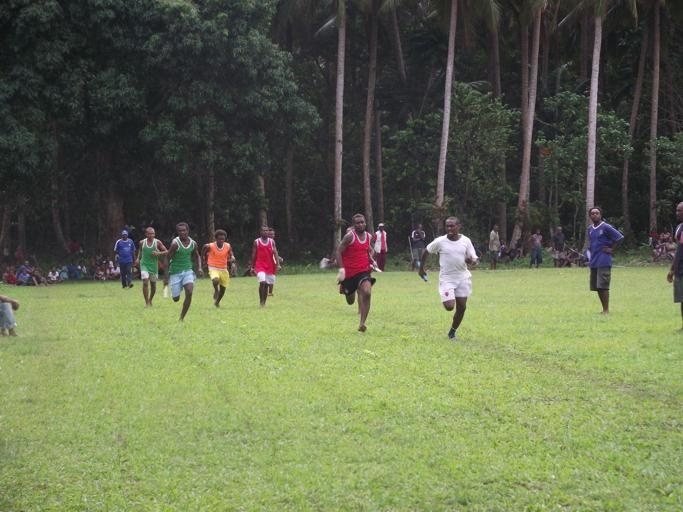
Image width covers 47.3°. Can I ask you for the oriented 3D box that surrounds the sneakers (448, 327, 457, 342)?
[{"bbox_3d":[2.396,1.702,17.013,0.118,0.263,0.253,2,8,-23],"label":"sneakers"}]

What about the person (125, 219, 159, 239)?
[{"bbox_3d":[-10.228,-1.403,39.783,1.308,0.759,1.788,-6,-17,-7],"label":"person"}]

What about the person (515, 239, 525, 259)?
[{"bbox_3d":[9.506,-0.380,41.844,0.411,0.991,1.712,-2,-1,14],"label":"person"}]

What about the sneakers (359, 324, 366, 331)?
[{"bbox_3d":[0.470,1.627,17.645,0.108,0.156,0.059,-9,37,7],"label":"sneakers"}]

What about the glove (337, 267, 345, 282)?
[{"bbox_3d":[-0.072,0.420,17.513,0.212,0.266,0.255,1,-14,7],"label":"glove"}]

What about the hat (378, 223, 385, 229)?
[{"bbox_3d":[1.666,-1.339,33.613,0.297,0.183,0.442,-1,-3,-3],"label":"hat"}]

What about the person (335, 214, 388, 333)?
[{"bbox_3d":[0.347,0.385,18.024,0.838,2.652,1.414,-2,0,3],"label":"person"}]
